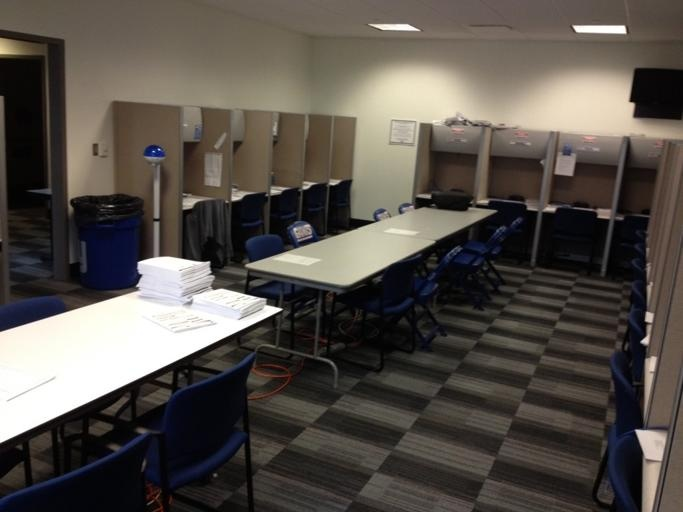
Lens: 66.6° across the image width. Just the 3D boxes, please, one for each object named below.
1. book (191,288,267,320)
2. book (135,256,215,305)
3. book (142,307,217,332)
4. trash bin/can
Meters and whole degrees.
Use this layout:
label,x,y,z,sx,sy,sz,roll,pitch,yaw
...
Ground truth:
label,x,y,z,sx,sy,sz,roll,pitch,yaw
book,-0.667,0.279,3.168,0.244,0.068,0.236,9,14,34
book,-1.105,0.120,3.315,0.343,0.172,0.346,13,16,40
book,-0.933,0.365,2.992,0.381,0.045,0.268,10,15,37
trash bin/can,-2.631,-0.116,5.841,0.780,0.968,0.741,-1,8,-23
